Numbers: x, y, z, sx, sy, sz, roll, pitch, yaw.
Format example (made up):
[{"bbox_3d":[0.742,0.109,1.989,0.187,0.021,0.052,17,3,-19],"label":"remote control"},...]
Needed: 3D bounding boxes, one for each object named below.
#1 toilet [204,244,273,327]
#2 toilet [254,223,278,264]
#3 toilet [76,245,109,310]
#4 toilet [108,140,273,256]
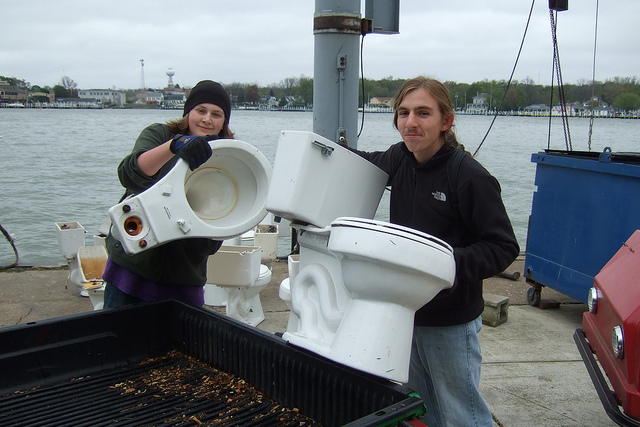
[{"bbox_3d":[-0.838,0.775,5.811,0.577,0.829,0.753,0,5,23],"label":"toilet"},{"bbox_3d":[-0.697,0.362,7.144,0.260,0.362,0.492,-4,13,-6],"label":"toilet"},{"bbox_3d":[-2.510,0.736,6.188,0.349,0.657,0.480,-2,8,-43],"label":"toilet"},{"bbox_3d":[-0.906,-0.075,4.053,1.167,0.735,0.430,-27,10,-26],"label":"toilet"}]
